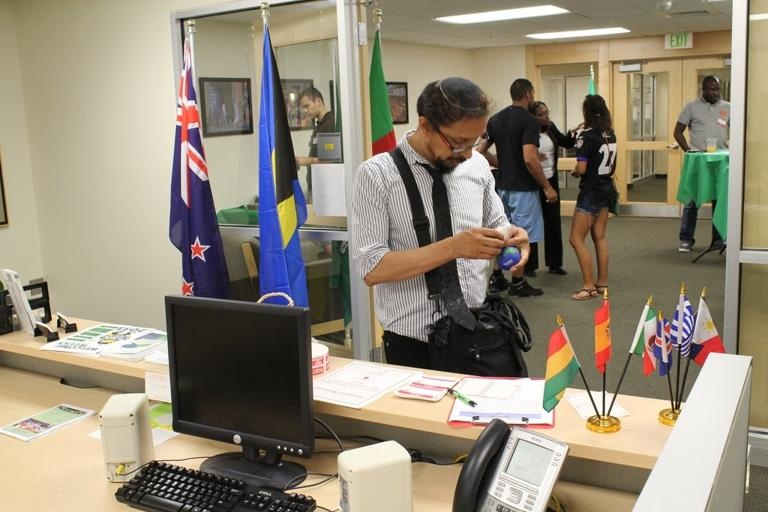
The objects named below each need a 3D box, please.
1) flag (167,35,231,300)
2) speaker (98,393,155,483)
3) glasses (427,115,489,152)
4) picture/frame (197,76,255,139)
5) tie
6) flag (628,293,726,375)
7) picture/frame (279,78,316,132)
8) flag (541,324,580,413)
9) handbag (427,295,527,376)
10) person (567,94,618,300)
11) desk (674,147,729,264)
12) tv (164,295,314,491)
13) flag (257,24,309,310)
[{"bbox_3d":[-1.297,-0.543,3.677,0.337,1.703,0.353,-9,15,-24],"label":"flag"},{"bbox_3d":[-0.908,0.648,1.962,0.138,0.245,0.205,-4,2,6],"label":"speaker"},{"bbox_3d":[0.268,-0.491,2.113,0.153,0.072,0.151,-12,31,-34],"label":"glasses"},{"bbox_3d":[-1.130,-1.080,4.005,0.503,0.562,0.025,-2,2,-1],"label":"picture/frame"},{"bbox_3d":[0.259,-0.028,2.216,0.164,0.647,0.031,-3,-3,-27],"label":"tie"},{"bbox_3d":[0.898,0.243,1.695,0.233,0.296,0.173,6,16,34],"label":"flag"},{"bbox_3d":[-0.583,-1.020,3.751,0.376,0.437,0.033,5,15,33],"label":"picture/frame"},{"bbox_3d":[0.557,0.344,1.745,0.100,0.332,0.259,2,14,20],"label":"flag"},{"bbox_3d":[0.389,0.321,2.385,0.381,0.376,0.297,-2,8,8],"label":"handbag"},{"bbox_3d":[2.171,-0.606,5.748,0.431,2.047,0.627,2,14,23],"label":"person"},{"bbox_3d":[3.841,-0.792,6.898,0.738,0.961,0.744,11,24,29],"label":"desk"},{"bbox_3d":[-0.483,0.462,2.014,0.617,0.613,0.252,1,5,25],"label":"tv"},{"bbox_3d":[-0.694,-0.568,3.584,0.283,1.772,0.377,-2,13,7],"label":"flag"}]
